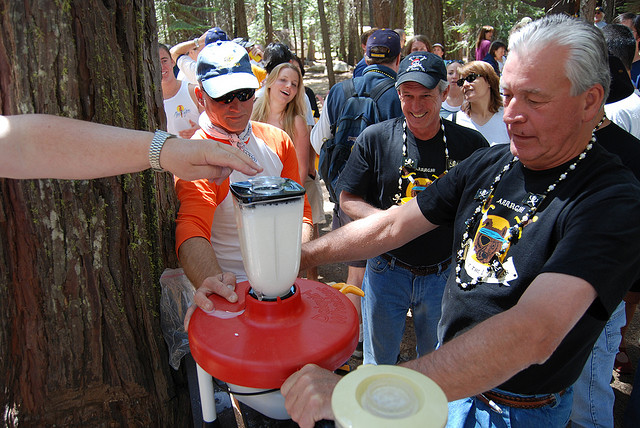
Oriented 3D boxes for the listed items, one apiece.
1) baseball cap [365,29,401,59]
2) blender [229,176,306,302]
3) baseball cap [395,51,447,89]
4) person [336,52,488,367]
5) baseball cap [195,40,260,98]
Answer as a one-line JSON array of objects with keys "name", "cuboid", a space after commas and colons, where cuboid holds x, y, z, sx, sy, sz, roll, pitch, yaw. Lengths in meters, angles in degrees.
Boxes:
[{"name": "baseball cap", "cuboid": [0.659, -1.712, 5.149, 0.387, 0.230, 0.593, 6, 27, 19]}, {"name": "blender", "cuboid": [-0.220, 0.108, 2.347, 0.310, 0.516, 0.235, -5, 16, -10]}, {"name": "baseball cap", "cuboid": [0.737, -1.049, 3.836, 0.356, 0.266, 0.347, 0, 15, 10]}, {"name": "person", "cuboid": [0.710, 0.373, 4.021, 1.178, 3.017, 0.882, 1, 23, 6]}, {"name": "baseball cap", "cuboid": [-0.590, -0.915, 3.303, 0.290, 0.221, 0.414, -19, 50, -21]}]
